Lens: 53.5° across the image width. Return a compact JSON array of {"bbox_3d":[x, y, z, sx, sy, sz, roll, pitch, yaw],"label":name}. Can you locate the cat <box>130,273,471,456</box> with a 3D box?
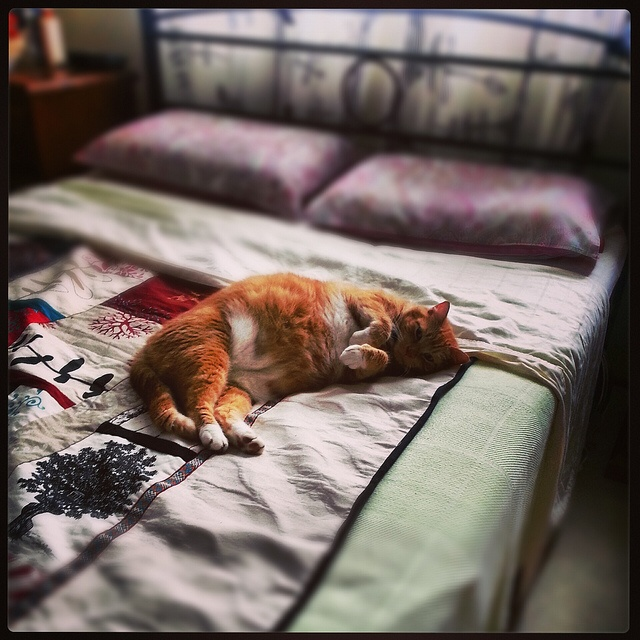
[{"bbox_3d":[-0.032,0.060,1.123,0.489,0.142,0.289,-9,23,1],"label":"cat"}]
